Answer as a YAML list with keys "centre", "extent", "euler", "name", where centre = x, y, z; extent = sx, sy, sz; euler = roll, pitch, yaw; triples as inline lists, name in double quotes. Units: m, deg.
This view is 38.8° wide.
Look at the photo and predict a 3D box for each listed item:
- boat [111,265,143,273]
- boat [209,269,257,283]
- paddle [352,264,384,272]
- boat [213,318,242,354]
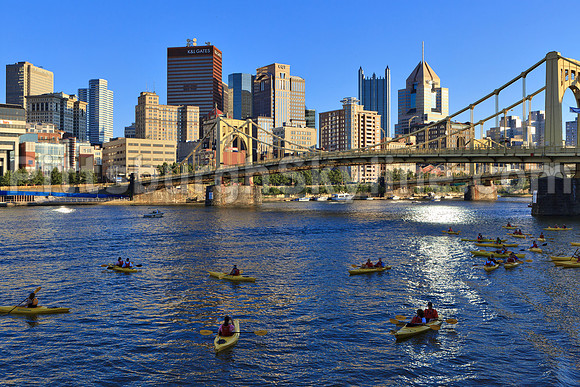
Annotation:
- centre: [-24.672, 11.378, 122.513]
  extent: [4.924, 0.718, 1.506]
  euler: [5, 1, 20]
  name: "boat"
- centre: [-8.476, 12.128, 119.463]
  extent: [7.154, 1.226, 2.324]
  euler: [5, 2, 17]
  name: "boat"
- centre: [11.655, 11.066, 121.972]
  extent: [3.430, 0.359, 0.803]
  euler: [-4, 13, -24]
  name: "paddle"
- centre: [-7.900, 18.340, 105.795]
  extent: [2.031, 3.545, 3.913]
  euler: [-3, -3, 43]
  name: "boat"
